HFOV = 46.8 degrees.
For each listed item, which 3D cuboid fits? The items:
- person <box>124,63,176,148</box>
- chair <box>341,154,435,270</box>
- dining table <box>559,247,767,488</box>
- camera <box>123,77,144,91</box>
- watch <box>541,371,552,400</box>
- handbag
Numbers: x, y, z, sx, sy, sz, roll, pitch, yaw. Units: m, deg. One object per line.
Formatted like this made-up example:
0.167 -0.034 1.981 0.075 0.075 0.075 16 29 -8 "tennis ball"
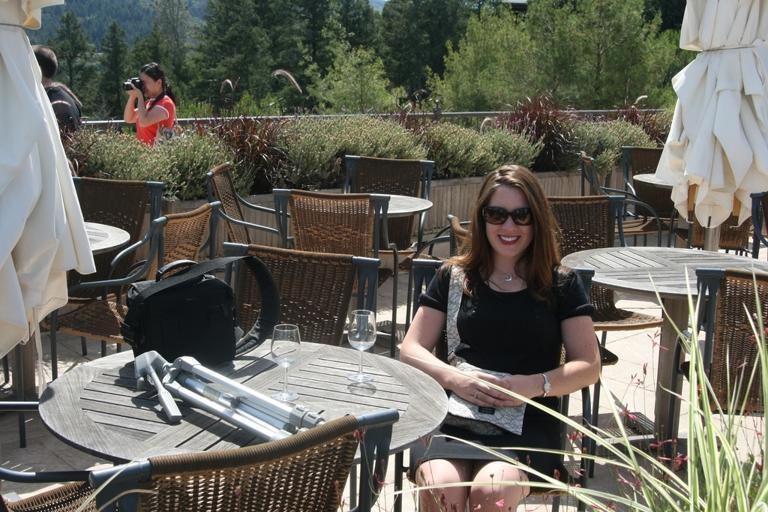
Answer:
-2.335 -1.499 8.730 0.678 0.825 0.569 4 9 37 "person"
0.006 -0.346 8.057 0.943 1.385 0.916 1 7 6 "chair"
1.746 0.639 5.355 1.102 1.286 1.159 -6 14 -20 "dining table"
-2.450 -1.670 8.640 0.149 0.118 0.172 2 2 34 "camera"
0.767 0.616 4.197 0.054 0.103 0.088 -1 4 -12 "watch"
-0.843 0.254 4.115 0.605 0.496 0.459 1 0 -35 "handbag"
